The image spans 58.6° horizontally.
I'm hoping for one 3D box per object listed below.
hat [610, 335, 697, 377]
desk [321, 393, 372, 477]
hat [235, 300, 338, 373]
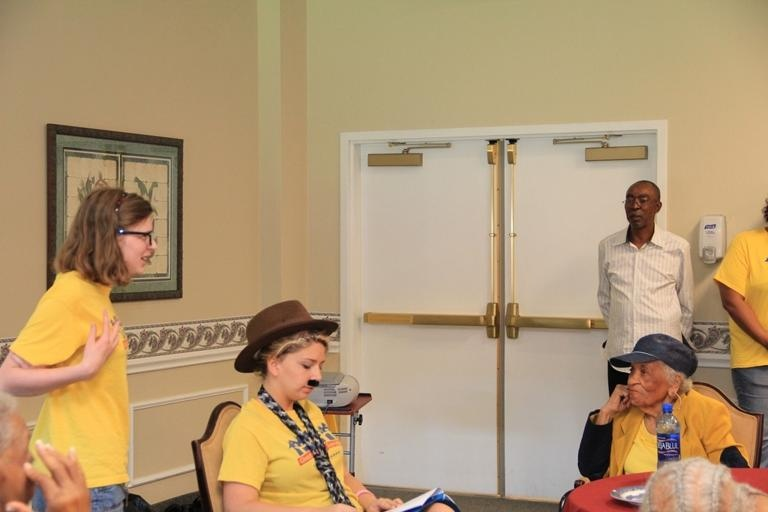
[{"bbox_3d":[1.387,0.500,3.538,0.475,0.178,0.294,9,-3,-11],"label":"hat"},{"bbox_3d":[-0.224,1.276,4.707,0.346,0.378,0.354,-5,-8,-22],"label":"desk"},{"bbox_3d":[-0.475,0.391,3.119,0.383,0.138,0.339,-30,-11,8],"label":"hat"}]
